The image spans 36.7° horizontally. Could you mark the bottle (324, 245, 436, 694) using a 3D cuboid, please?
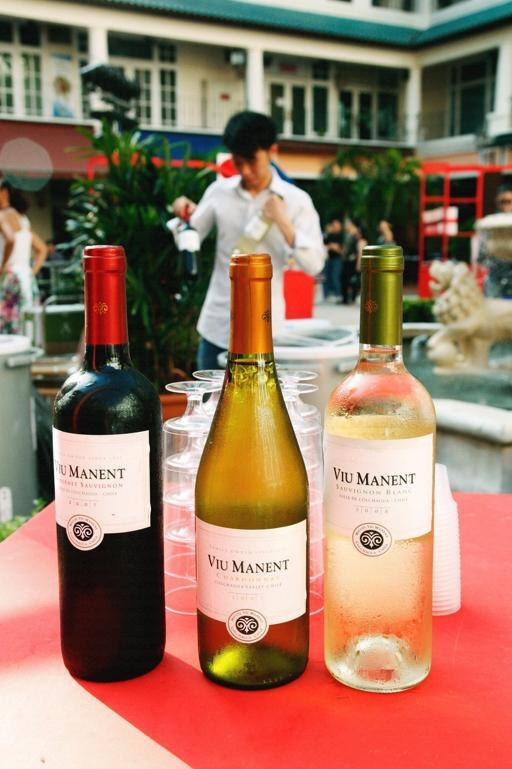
[{"bbox_3d":[0.095,0.065,0.592,0.082,0.333,0.113,1,9,12],"label":"bottle"}]

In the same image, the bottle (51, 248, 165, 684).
[{"bbox_3d":[-0.110,0.067,0.575,0.079,0.331,0.047,-3,9,-11],"label":"bottle"}]
